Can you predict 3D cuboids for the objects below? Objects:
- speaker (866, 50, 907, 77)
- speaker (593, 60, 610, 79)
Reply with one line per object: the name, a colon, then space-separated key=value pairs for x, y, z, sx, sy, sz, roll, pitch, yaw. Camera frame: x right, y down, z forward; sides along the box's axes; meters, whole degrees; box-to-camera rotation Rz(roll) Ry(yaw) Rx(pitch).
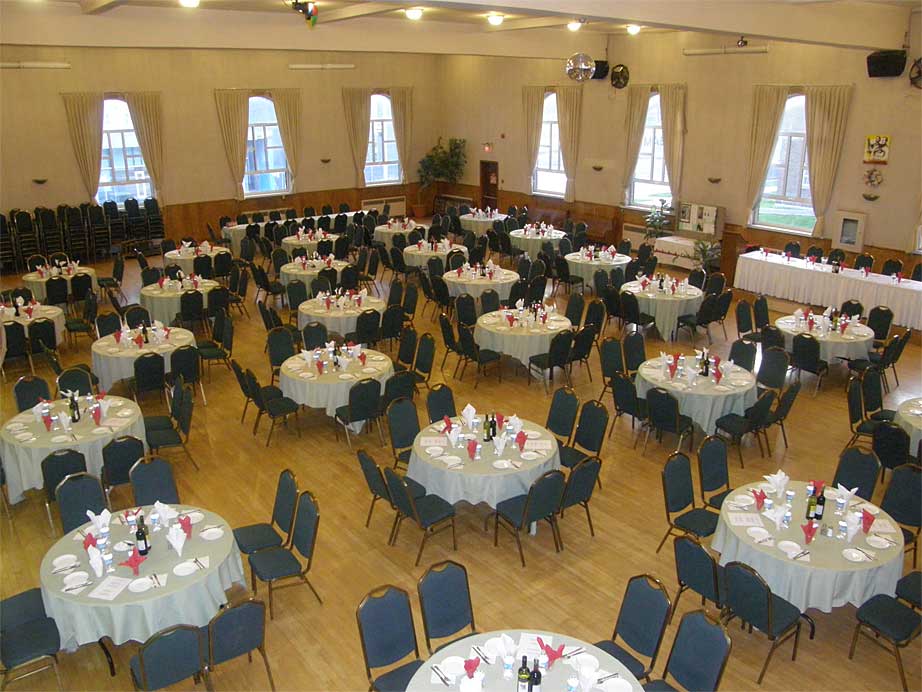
speaker: x=8.750 y=-5.750 z=14.777 sx=0.598 sy=0.517 sz=0.725 roll=-18 pitch=26 yaw=-38
speaker: x=3.997 y=-7.804 z=20.514 sx=0.434 sy=0.563 sz=0.615 roll=9 pitch=22 yaw=28
